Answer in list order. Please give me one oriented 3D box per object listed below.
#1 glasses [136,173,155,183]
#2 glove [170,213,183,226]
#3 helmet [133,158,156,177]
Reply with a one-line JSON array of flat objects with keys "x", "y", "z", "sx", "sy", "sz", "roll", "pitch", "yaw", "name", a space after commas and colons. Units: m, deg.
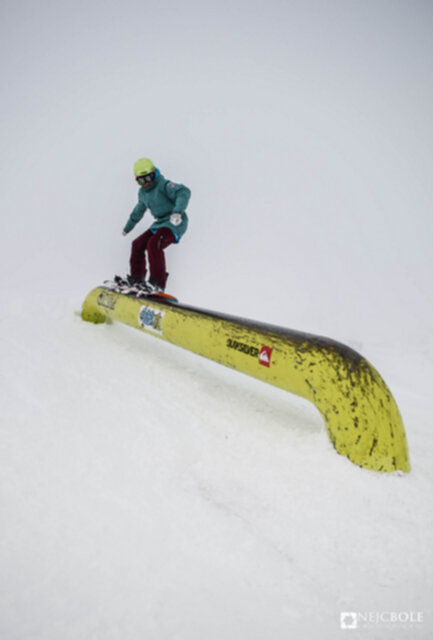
[{"x": -0.635, "y": -1.269, "z": 5.655, "sx": 0.093, "sy": 0.116, "sz": 0.118, "roll": -24, "pitch": 19, "yaw": -1, "name": "glasses"}, {"x": -0.320, "y": -0.843, "z": 5.272, "sx": 0.091, "sy": 0.097, "sz": 0.023, "roll": 30, "pitch": 15, "yaw": 17, "name": "glove"}, {"x": -0.628, "y": -1.355, "z": 5.563, "sx": 0.172, "sy": 0.154, "sz": 0.289, "roll": 4, "pitch": -1, "yaw": -5, "name": "helmet"}]
